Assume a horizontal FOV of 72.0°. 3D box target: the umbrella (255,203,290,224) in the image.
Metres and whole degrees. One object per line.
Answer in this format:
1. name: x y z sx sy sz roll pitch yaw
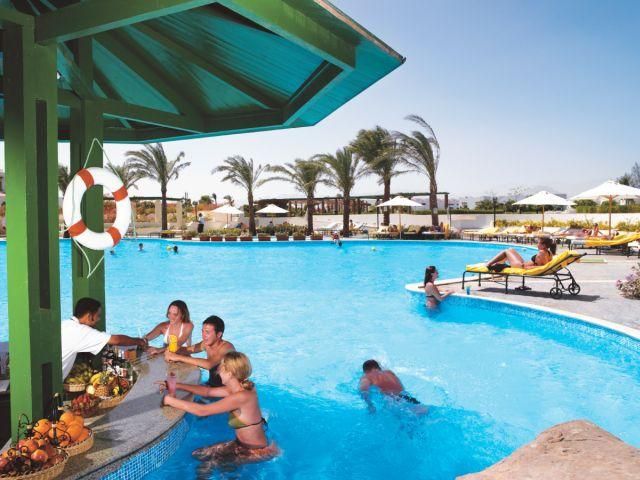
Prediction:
1. umbrella: -4.004 -2.337 38.010 2.393 1.919 2.300 0 0 -4

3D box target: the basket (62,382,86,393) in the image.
1. basket: -2.330 1.390 4.160 0.128 0.044 0.124 -1 -4 19

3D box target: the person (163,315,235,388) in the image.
1. person: -1.393 1.441 5.189 0.781 1.035 0.599 -4 12 -31

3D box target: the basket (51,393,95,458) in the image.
1. basket: -1.960 1.472 3.506 0.318 0.344 0.325 4 -7 -42

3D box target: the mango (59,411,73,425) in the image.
1. mango: -1.998 1.395 3.462 0.079 0.095 0.080 8 10 8

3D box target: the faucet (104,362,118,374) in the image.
1. faucet: -2.180 1.318 4.561 0.125 0.052 0.159 6 30 -21

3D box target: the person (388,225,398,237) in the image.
1. person: 4.807 -0.583 29.064 0.532 0.801 1.288 -1 -1 1

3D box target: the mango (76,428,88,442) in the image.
1. mango: -1.881 1.536 3.480 0.093 0.037 0.092 25 9 -2

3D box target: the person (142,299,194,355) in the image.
1. person: -1.918 1.167 5.580 0.527 0.709 0.675 5 10 3

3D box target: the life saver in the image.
1. life saver: -2.277 -0.329 4.490 0.317 0.828 0.698 -1 -1 22

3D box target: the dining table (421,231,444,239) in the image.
1. dining table: 6.976 -0.303 27.434 1.388 0.408 0.482 -1 -1 3

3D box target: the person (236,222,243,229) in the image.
1. person: -7.091 -1.297 38.114 0.541 0.699 0.708 -1 -14 -2

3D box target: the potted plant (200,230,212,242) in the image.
1. potted plant: -7.683 -0.253 28.941 1.082 0.669 1.075 0 0 -8

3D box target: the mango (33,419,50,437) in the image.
1. mango: -2.113 1.417 3.332 0.074 0.100 0.083 16 8 19

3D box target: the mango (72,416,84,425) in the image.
1. mango: -1.939 1.435 3.509 0.063 0.047 0.063 6 -9 -25

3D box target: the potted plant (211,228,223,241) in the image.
1. potted plant: -6.961 -0.316 29.302 1.168 0.724 1.119 0 -2 -7

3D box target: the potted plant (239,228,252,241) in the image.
1. potted plant: -4.848 -0.433 28.609 1.008 0.641 0.964 0 -3 -3

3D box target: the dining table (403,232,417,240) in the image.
1. dining table: 5.761 -0.339 28.166 1.047 0.578 1.494 -1 -1 11

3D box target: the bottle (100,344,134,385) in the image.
1. bottle: -2.234 1.344 4.840 0.291 0.277 0.428 -1 -8 -21

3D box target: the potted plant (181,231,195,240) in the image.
1. potted plant: -9.271 -0.340 30.896 0.914 0.589 0.894 -1 1 -35

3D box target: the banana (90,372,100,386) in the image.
1. banana: -2.142 1.316 4.202 0.097 0.056 0.097 -5 35 27

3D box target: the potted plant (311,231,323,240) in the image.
1. potted plant: -0.246 -0.330 28.641 0.743 0.461 0.739 0 -2 1

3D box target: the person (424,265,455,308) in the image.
1. person: 2.606 1.035 9.881 0.552 0.913 1.036 -1 -1 13

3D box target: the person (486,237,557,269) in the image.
1. person: 4.476 0.302 9.993 1.507 0.744 0.663 2 4 38

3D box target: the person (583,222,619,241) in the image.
1. person: 13.690 -0.433 21.566 1.614 0.568 1.221 0 0 23

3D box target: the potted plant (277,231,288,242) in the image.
1. potted plant: -2.560 -0.254 29.004 0.710 0.429 0.679 0 -1 -11
